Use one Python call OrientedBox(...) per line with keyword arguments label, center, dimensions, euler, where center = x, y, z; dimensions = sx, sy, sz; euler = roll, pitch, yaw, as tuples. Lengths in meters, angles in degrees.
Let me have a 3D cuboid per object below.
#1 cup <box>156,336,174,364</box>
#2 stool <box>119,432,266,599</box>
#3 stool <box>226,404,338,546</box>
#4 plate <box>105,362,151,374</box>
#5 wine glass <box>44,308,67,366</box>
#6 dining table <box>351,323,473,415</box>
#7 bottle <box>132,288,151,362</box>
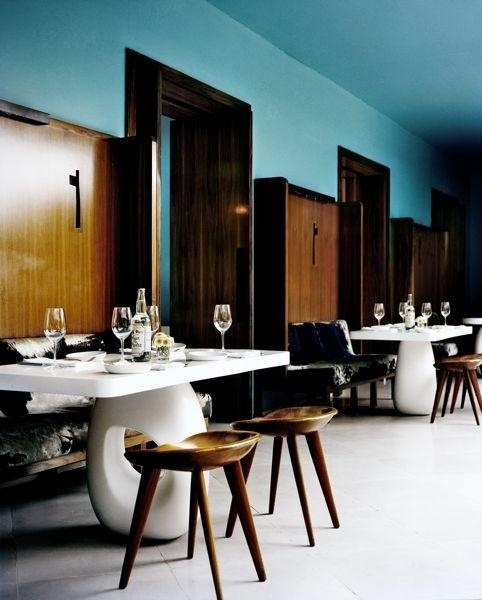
OrientedBox(label="cup", center=(-0.260, 0.162, 1.702), dimensions=(0.052, 0.083, 0.089), euler=(1, 2, -12))
OrientedBox(label="stool", center=(-0.099, 0.520, 1.537), dimensions=(0.368, 0.618, 0.445), euler=(0, -2, 26))
OrientedBox(label="stool", center=(0.199, 0.524, 1.941), dimensions=(0.385, 0.613, 0.478), euler=(0, -3, 17))
OrientedBox(label="plate", center=(-0.308, 0.184, 1.393), dimensions=(0.125, 0.032, 0.101), euler=(1, 2, -24))
OrientedBox(label="wine glass", center=(-0.613, 0.113, 1.668), dimensions=(0.059, 0.176, 0.179), euler=(0, 2, -22))
OrientedBox(label="dining table", center=(1.569, 0.640, 4.730), dimensions=(1.025, 0.799, 0.751), euler=(-1, 3, -44))
OrientedBox(label="bottle", center=(-0.347, 0.079, 1.774), dimensions=(0.058, 0.231, 0.298), euler=(0, 2, -11))
